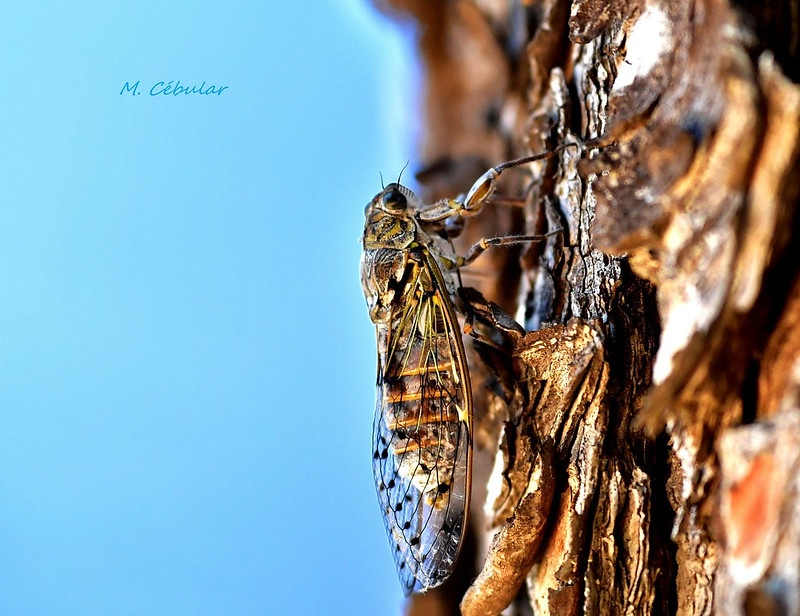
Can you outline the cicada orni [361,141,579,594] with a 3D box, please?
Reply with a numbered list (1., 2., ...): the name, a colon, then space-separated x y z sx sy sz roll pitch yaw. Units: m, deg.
1. cicada orni: 0.101 0.080 1.657 0.113 0.312 0.525 2 -93 -20
